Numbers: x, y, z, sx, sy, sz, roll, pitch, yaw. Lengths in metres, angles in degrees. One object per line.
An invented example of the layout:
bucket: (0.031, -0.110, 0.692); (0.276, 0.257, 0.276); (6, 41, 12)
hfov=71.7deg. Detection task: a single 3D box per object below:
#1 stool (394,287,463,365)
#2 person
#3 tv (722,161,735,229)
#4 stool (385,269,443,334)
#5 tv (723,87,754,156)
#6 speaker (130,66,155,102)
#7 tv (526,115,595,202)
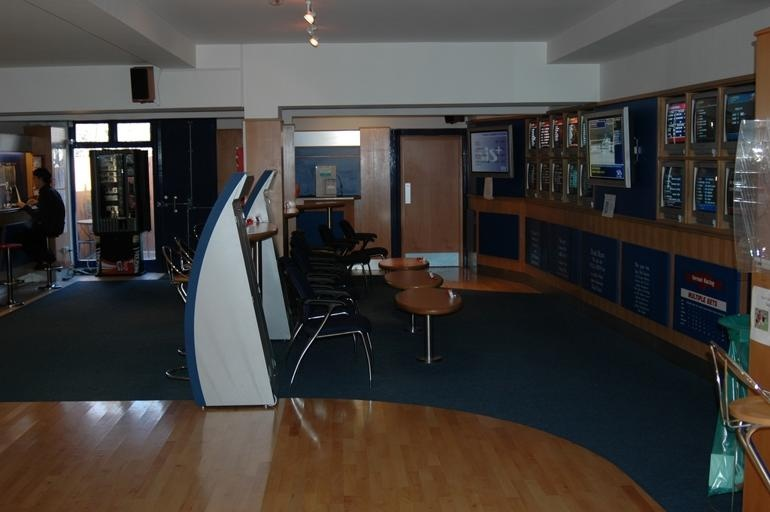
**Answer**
stool: (0.492, 0.835, 6.414); (0.870, 0.795, 0.805); (-1, 13, -3)
person: (-6.543, -0.694, 10.018); (0.953, 1.929, 0.778); (10, 14, 42)
tv: (3.704, -0.673, 5.730); (0.090, 0.708, 0.177); (2, 11, 12)
stool: (0.369, 0.505, 7.356); (0.829, 0.634, 0.810); (-1, 14, -3)
tv: (3.666, -1.426, 5.545); (0.154, 0.681, 0.358); (1, 11, 10)
speaker: (-3.916, -2.800, 8.562); (0.379, 0.558, 0.260); (-2, 11, -11)
tv: (2.940, -1.646, 8.822); (0.528, 1.617, 1.677); (-1, 1, -14)
